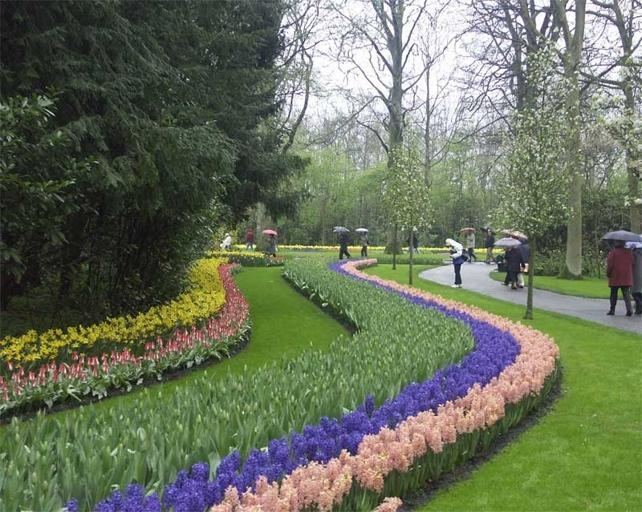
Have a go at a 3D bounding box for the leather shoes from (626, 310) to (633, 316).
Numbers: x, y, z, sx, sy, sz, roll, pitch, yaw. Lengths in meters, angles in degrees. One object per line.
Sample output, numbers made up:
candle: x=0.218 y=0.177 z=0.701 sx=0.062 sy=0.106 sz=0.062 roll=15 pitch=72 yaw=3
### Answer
leather shoes: x=7.480 y=1.401 z=15.986 sx=0.117 sy=0.140 sz=0.120 roll=-6 pitch=13 yaw=-34

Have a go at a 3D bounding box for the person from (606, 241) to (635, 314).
person: x=7.328 y=0.543 z=16.118 sx=0.643 sy=1.866 sz=0.937 roll=4 pitch=13 yaw=26
